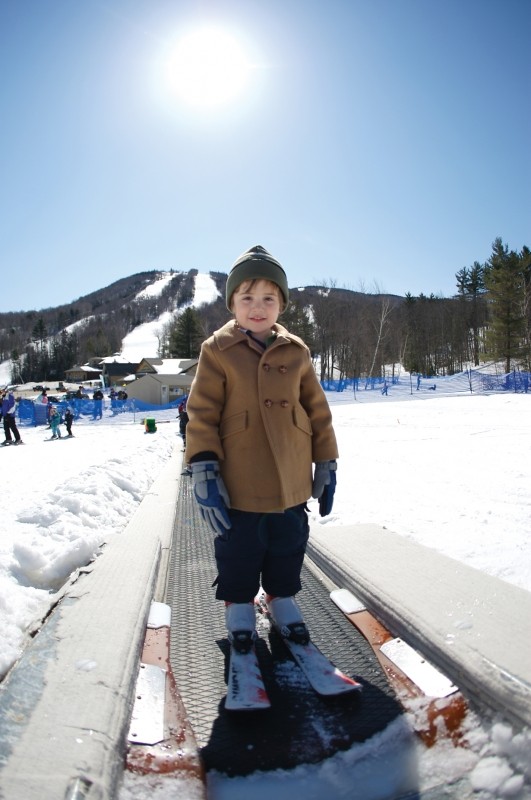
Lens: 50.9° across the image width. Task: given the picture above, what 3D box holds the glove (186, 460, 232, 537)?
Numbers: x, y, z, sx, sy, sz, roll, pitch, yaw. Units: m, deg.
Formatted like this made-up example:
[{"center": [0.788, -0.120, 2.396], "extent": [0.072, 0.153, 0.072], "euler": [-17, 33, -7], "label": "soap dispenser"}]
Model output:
[{"center": [-0.188, 0.331, 1.938], "extent": [0.141, 0.261, 0.073], "euler": [-13, -5, -16], "label": "glove"}]

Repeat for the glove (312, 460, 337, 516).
[{"center": [0.236, 0.355, 2.285], "extent": [0.107, 0.217, 0.053], "euler": [2, -2, -16], "label": "glove"}]
